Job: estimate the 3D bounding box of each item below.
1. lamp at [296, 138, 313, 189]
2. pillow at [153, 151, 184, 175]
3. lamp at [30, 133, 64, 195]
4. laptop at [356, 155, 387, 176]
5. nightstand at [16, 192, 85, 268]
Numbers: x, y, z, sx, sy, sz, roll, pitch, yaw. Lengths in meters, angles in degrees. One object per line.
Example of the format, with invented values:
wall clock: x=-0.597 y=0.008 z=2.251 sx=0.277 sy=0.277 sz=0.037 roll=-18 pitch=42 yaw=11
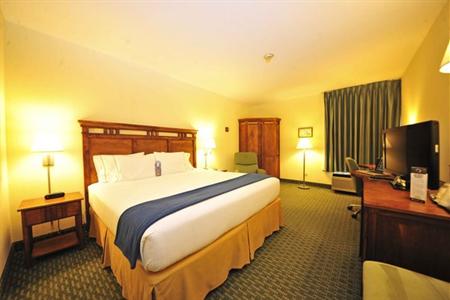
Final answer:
lamp: x=2.164 y=0.339 z=7.748 sx=0.401 sy=1.346 sz=0.729 roll=-3 pitch=2 yaw=16
pillow: x=-1.128 y=0.277 z=5.715 sx=0.101 sy=0.275 sz=0.417 roll=-30 pitch=-27 yaw=35
lamp: x=-2.983 y=0.230 z=4.854 sx=0.439 sy=1.046 sz=0.371 roll=-4 pitch=2 yaw=-35
laptop: x=2.729 y=0.244 z=5.275 sx=0.373 sy=0.319 sz=0.445 roll=-4 pitch=-5 yaw=3
nightstand: x=-2.902 y=1.267 z=4.872 sx=0.854 sy=1.002 sz=0.600 roll=-8 pitch=16 yaw=-34
